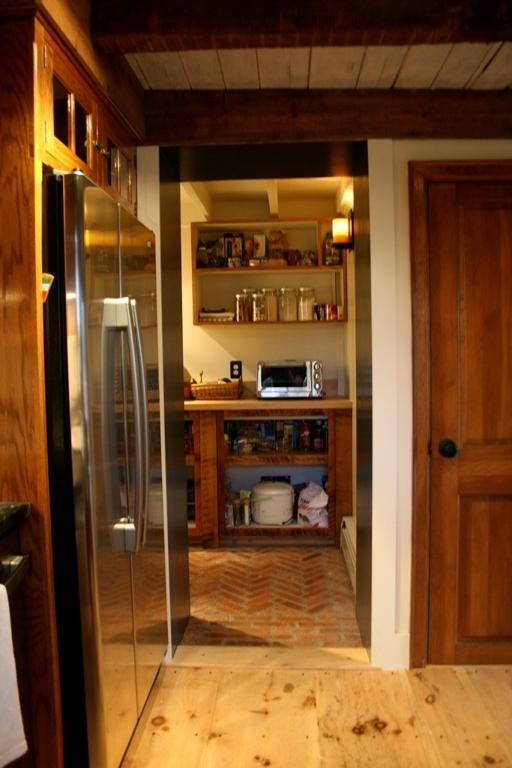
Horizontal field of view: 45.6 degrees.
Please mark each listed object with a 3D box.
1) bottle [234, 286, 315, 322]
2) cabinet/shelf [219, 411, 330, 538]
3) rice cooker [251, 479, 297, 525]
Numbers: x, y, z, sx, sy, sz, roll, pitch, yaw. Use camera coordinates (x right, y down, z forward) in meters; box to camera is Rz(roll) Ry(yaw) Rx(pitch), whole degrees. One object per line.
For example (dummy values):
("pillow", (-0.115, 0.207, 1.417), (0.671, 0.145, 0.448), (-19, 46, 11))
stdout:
("bottle", (0.148, -0.622, 4.805), (0.632, 0.271, 0.100), (-1, 2, 5))
("cabinet/shelf", (0.169, 0.643, 4.553), (0.652, 0.899, 0.509), (2, 4, -4))
("rice cooker", (0.117, 0.840, 4.386), (0.305, 0.299, 0.315), (0, 3, 3))
